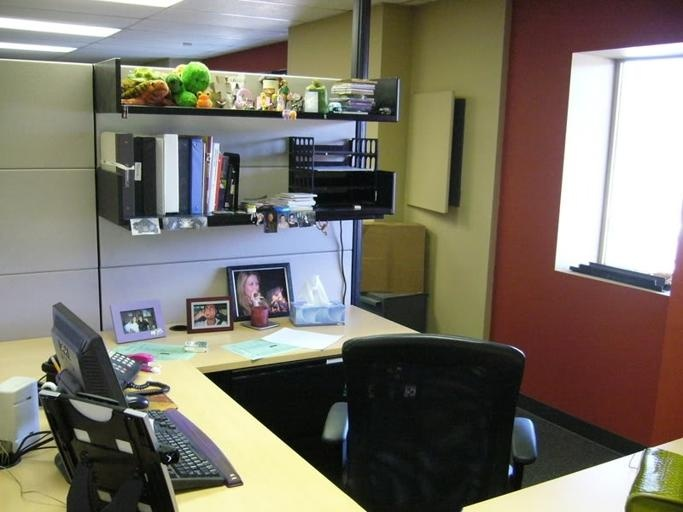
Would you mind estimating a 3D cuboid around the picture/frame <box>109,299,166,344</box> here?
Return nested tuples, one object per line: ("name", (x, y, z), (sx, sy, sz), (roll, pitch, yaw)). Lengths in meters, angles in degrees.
("picture/frame", (-1.037, 0.334, 2.796), (0.201, 0.179, 0.019), (-4, -13, -34))

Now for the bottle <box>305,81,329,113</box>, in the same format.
("bottle", (-0.168, -0.872, 3.014), (0.091, 0.128, 0.098), (21, 8, -3))

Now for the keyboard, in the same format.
("keyboard", (-0.514, 0.683, 1.847), (0.045, 0.187, 0.336), (14, 8, -45))

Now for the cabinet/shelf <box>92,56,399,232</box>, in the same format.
("cabinet/shelf", (-0.337, -0.496, 2.950), (1.128, 0.643, 0.384), (-1, 6, -9))

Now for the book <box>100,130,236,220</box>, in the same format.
("book", (-0.854, -0.386, 2.719), (0.692, 0.418, 0.343), (-3, 14, -17))

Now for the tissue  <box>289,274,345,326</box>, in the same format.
("tissue ", (-0.152, 0.178, 3.202), (0.399, 0.398, 0.223), (0, 3, -10))

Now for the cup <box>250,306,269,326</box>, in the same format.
("cup", (-0.449, 0.329, 3.064), (0.098, 0.105, 0.093), (1, 7, 0))

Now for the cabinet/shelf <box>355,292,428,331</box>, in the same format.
("cabinet/shelf", (0.456, 0.382, 4.650), (0.361, 0.464, 0.465), (0, 3, -12))

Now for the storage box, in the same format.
("storage box", (0.418, -0.003, 4.744), (0.534, 0.511, 0.269), (3, -8, -18))

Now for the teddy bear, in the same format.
("teddy bear", (-0.836, -0.830, 2.656), (0.410, 0.219, 0.289), (-2, 14, -15))

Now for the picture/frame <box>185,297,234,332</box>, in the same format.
("picture/frame", (-0.705, 0.312, 2.940), (0.179, 0.153, 0.014), (0, -6, -15))

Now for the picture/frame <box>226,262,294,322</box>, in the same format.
("picture/frame", (-0.478, 0.211, 3.130), (0.321, 0.282, 0.021), (-3, -13, -27))
